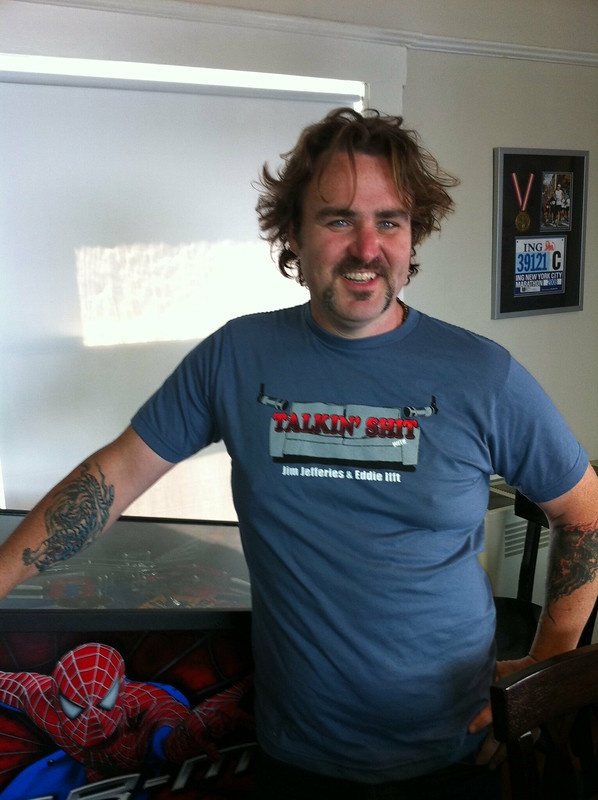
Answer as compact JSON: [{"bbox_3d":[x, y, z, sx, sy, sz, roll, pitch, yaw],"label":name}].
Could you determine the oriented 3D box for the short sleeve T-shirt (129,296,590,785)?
[{"bbox_3d":[0.074,0.210,1.198,0.672,0.710,0.330,5,13,28],"label":"short sleeve T-shirt"}]
